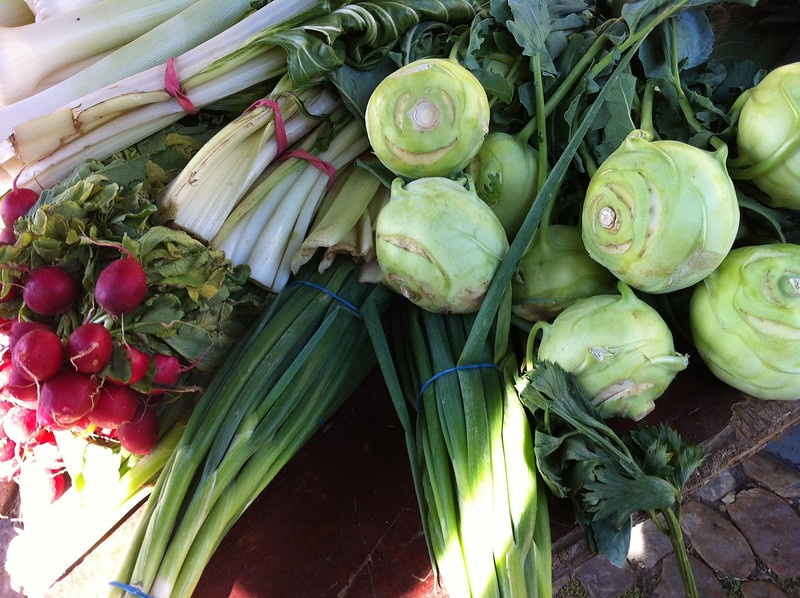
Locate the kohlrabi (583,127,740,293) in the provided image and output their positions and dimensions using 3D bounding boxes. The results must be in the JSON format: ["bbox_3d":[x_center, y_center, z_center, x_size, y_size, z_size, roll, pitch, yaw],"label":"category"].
[{"bbox_3d":[0.507,-0.176,1.294,0.267,0.235,0.192,1,-39,-4],"label":"kohlrabi"}]

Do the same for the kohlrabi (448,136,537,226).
[{"bbox_3d":[0.222,-0.259,1.422,0.136,0.108,0.193,0,-67,26],"label":"kohlrabi"}]

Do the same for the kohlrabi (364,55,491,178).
[{"bbox_3d":[0.064,-0.391,1.490,0.319,0.376,0.214,3,-59,16],"label":"kohlrabi"}]
